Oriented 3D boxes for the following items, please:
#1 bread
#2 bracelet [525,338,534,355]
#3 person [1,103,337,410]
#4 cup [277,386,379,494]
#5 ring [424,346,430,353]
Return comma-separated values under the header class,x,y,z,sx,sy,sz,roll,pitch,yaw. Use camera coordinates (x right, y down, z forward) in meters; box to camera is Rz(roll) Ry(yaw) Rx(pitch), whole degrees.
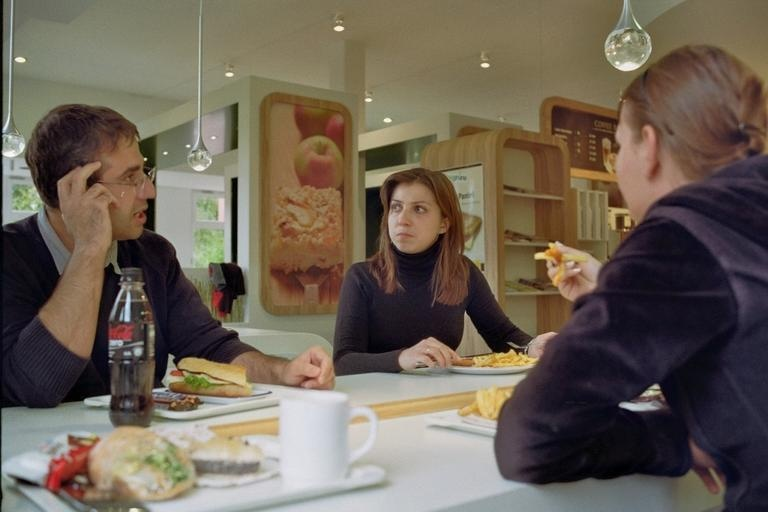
class,x,y,z,sx,sy,sz,roll,pitch,yaw
bread,-0.368,0.298,0.809,0.161,0.061,0.120,1,2,20
bracelet,0.591,0.377,2.289,0.052,0.049,0.054,-1,0,7
person,-0.701,-0.030,1.836,1.079,0.878,0.774,-5,-1,2
cup,-0.081,0.293,0.883,0.146,0.127,0.096,-1,-4,-5
ring,0.150,0.325,1.922,0.022,0.024,0.008,-1,0,18
